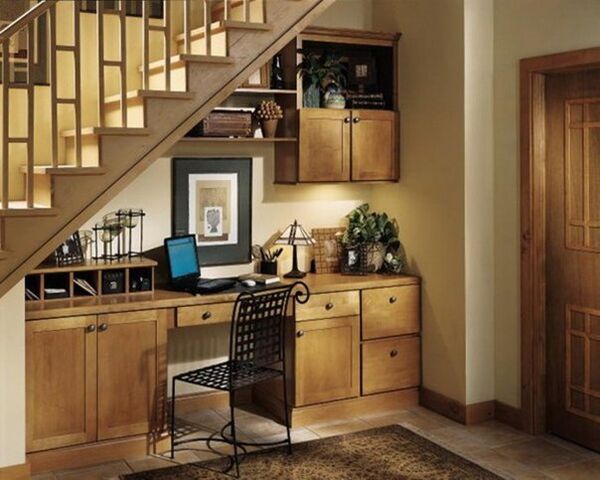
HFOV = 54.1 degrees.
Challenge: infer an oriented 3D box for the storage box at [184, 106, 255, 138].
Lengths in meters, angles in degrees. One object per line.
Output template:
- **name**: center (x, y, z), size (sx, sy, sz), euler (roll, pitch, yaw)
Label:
- **storage box**: center (-0.574, -0.841, 4.265), size (0.490, 0.212, 0.173), euler (-1, 7, -11)

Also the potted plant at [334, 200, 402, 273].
- **potted plant**: center (0.584, -0.014, 4.866), size (0.488, 0.512, 0.483), euler (1, -2, -18)

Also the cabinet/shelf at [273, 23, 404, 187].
- **cabinet/shelf**: center (0.374, -1.040, 4.715), size (0.848, 1.154, 0.407), euler (-1, 12, -4)

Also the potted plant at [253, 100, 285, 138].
- **potted plant**: center (-0.241, -0.923, 4.538), size (0.260, 0.307, 0.259), euler (-5, 10, -32)

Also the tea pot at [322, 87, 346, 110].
- **tea pot**: center (0.267, -1.103, 4.604), size (0.148, 0.144, 0.153), euler (-1, 7, 0)

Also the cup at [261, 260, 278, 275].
- **cup**: center (-0.237, 0.214, 4.617), size (0.100, 0.085, 0.104), euler (0, 3, 0)

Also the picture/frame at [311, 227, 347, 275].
- **picture/frame**: center (0.243, 0.094, 4.925), size (0.318, 0.385, 0.027), euler (-1, -3, -29)

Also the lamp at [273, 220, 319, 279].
- **lamp**: center (-0.044, 0.085, 4.701), size (0.384, 0.440, 0.383), euler (0, 2, -30)

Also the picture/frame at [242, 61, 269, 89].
- **picture/frame**: center (-0.309, -1.184, 4.350), size (0.215, 0.211, 0.049), euler (-4, 3, -32)

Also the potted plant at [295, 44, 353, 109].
- **potted plant**: center (0.154, -1.216, 4.694), size (0.469, 0.499, 0.476), euler (-1, 4, -25)

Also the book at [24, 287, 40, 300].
- **book**: center (-1.683, 0.341, 3.695), size (0.039, 0.042, 0.155), euler (-13, 41, -38)

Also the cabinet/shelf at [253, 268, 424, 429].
- **cabinet/shelf**: center (0.348, 0.797, 4.736), size (1.164, 1.014, 0.624), euler (-1, 1, -27)

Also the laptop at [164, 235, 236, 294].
- **laptop**: center (-0.709, 0.189, 4.219), size (0.380, 0.423, 0.481), euler (-1, 3, 11)

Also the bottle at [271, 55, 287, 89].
- **bottle**: center (-0.166, -1.274, 4.479), size (0.104, 0.277, 0.185), euler (0, 7, 3)

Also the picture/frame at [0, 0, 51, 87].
- **picture/frame**: center (-1.787, -1.282, 3.801), size (0.297, 0.550, 0.127), euler (-3, 8, -24)
